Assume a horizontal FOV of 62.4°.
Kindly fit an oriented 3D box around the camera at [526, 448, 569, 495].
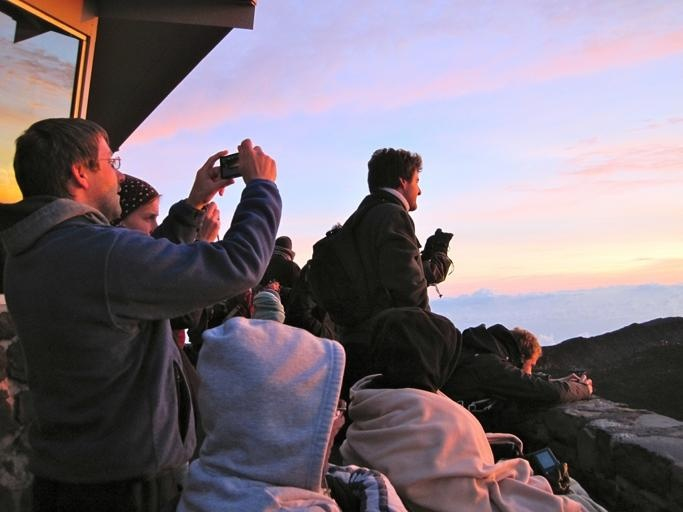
[{"bbox_3d":[1.250,1.233,3.351,0.224,0.317,0.188,6,-5,-27],"label":"camera"}]
